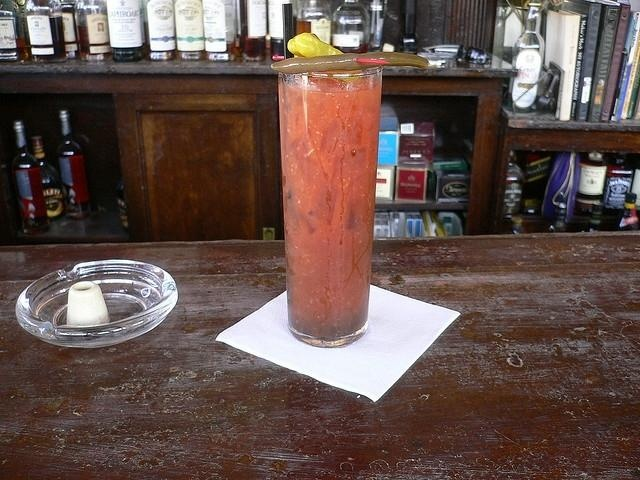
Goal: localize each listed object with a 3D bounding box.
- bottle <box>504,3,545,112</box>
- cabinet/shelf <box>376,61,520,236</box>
[{"bbox_3d":[0.760,-0.664,1.984,0.123,0.366,0.086,0,20,1],"label":"bottle"},{"bbox_3d":[0.465,-0.326,2.066,0.462,0.626,0.146,2,21,7],"label":"cabinet/shelf"}]
